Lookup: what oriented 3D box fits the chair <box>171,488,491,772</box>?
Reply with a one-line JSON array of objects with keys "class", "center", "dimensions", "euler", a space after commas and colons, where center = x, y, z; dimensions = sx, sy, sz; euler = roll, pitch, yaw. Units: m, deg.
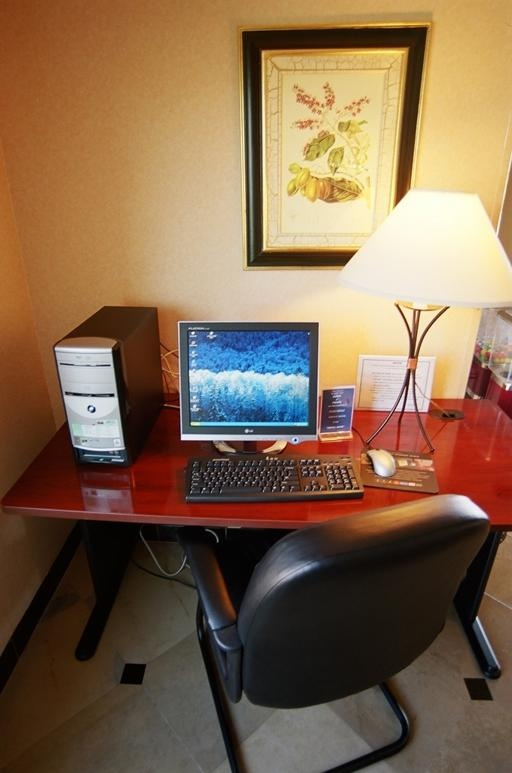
[{"class": "chair", "center": [0.153, 0.553, 1.164], "dimensions": [0.458, 0.773, 0.499], "euler": [-6, 44, -3]}]

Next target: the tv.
[{"class": "tv", "center": [-0.019, -0.004, 1.496], "dimensions": [0.352, 0.348, 0.029], "euler": [-1, 11, 1]}]

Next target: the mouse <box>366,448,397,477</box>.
[{"class": "mouse", "center": [0.347, 0.204, 1.465], "dimensions": [0.079, 0.051, 0.099], "euler": [5, 31, 1]}]
